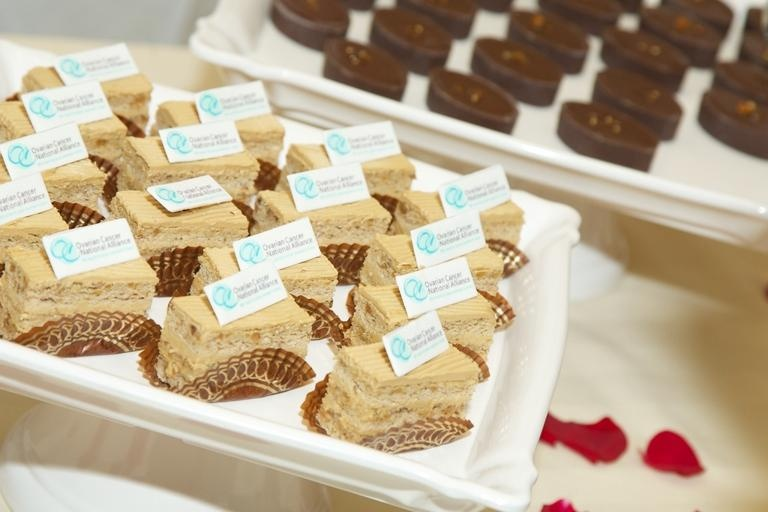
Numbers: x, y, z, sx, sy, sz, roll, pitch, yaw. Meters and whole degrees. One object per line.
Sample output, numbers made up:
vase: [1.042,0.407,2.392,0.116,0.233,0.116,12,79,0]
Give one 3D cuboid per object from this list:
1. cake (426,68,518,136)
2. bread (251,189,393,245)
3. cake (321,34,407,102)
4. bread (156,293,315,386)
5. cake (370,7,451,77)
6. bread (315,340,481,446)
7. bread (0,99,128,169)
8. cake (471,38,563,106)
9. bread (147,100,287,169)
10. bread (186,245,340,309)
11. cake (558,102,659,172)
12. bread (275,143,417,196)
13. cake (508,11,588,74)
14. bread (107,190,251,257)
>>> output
cake: [0.473,-0.834,3.385,0.479,0.160,0.306,24,49,5]
bread: [-0.247,-0.175,2.862,0.467,0.236,0.292,-6,43,-20]
cake: [-0.099,-1.017,3.470,0.469,0.151,0.383,8,52,0]
bread: [-0.597,0.324,2.548,0.553,0.328,0.328,-14,49,-32]
cake: [0.157,-1.248,3.613,0.420,0.168,0.427,20,36,-12]
bread: [0.055,0.509,2.534,0.611,0.386,0.344,-9,43,-29]
bread: [-1.403,-0.579,2.860,0.423,0.201,0.314,-9,45,-35]
cake: [0.768,-1.073,3.602,0.540,0.192,0.324,30,58,17]
bread: [-0.822,-0.458,2.967,0.486,0.237,0.353,-5,49,-35]
bread: [-0.397,0.088,2.696,0.488,0.166,0.250,0,42,-22]
cake: [1.167,-0.615,3.424,0.536,0.157,0.322,25,65,14]
bread: [-0.142,-0.442,3.053,0.506,0.186,0.298,-3,50,-25]
cake: [0.964,-1.283,3.855,0.522,0.188,0.291,37,65,15]
bread: [-0.866,-0.152,2.666,0.482,0.234,0.305,-8,37,-30]
